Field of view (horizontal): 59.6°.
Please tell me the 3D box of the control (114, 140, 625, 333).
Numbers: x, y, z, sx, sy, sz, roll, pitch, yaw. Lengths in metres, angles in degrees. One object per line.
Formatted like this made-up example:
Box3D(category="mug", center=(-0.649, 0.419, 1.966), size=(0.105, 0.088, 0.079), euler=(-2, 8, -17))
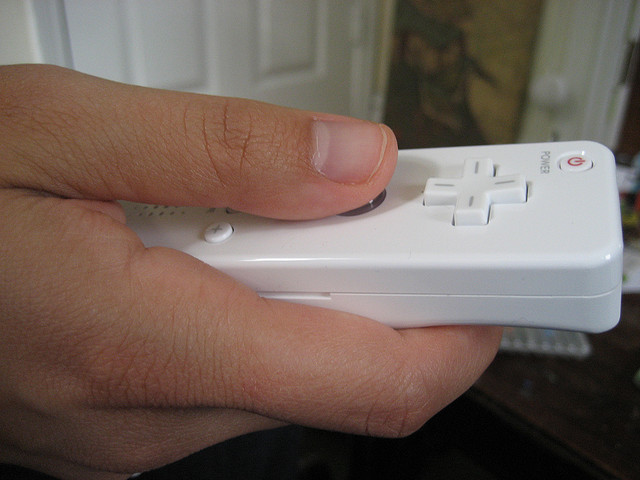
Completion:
Box3D(category="control", center=(0.028, -0.004, 0.486), size=(0.396, 0.098, 0.189), euler=(-5, 40, 17))
